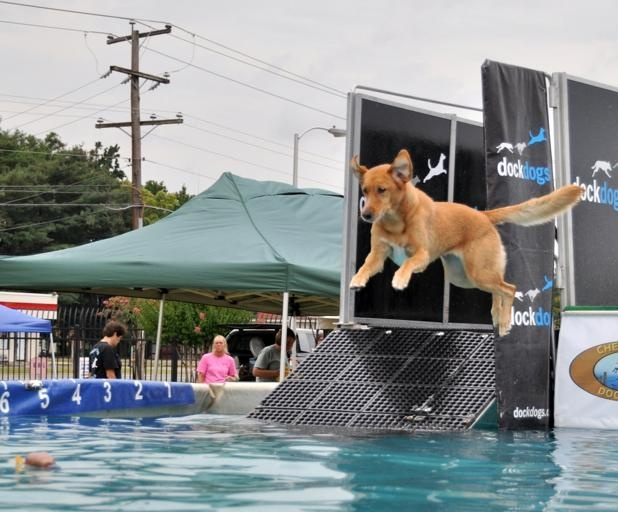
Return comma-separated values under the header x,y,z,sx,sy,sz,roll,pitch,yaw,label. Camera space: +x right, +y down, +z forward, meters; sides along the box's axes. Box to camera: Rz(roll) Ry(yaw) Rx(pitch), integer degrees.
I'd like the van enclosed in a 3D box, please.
x,y,z,sx,sy,sz,roll,pitch,yaw,label
-0.910,1.743,20.711,1.207,1.133,1.980,2,11,14,van

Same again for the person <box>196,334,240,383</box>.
x,y,z,sx,sy,sz,roll,pitch,yaw,label
-1.293,1.438,16.406,0.560,0.640,1.051,0,-5,-4,person

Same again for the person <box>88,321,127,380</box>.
x,y,z,sx,sy,sz,roll,pitch,yaw,label
-2.607,1.184,14.905,0.472,0.743,1.081,0,-5,-10,person

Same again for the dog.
x,y,z,sx,sy,sz,roll,pitch,yaw,label
1.639,-0.111,12.316,2.879,1.749,0.769,10,-9,-29,dog

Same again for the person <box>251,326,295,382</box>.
x,y,z,sx,sy,sz,roll,pitch,yaw,label
-0.500,1.384,16.296,0.563,0.727,0.877,-1,-5,3,person
